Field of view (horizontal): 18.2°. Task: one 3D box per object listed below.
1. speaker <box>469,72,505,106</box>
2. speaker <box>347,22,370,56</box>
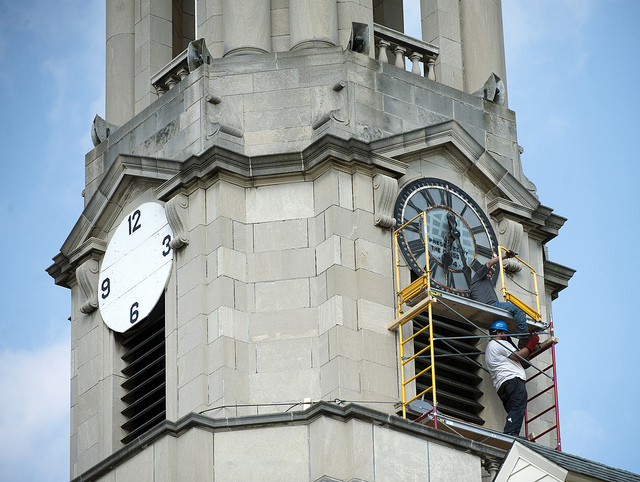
[{"bbox_3d":[4.251,-3.743,48.971,0.301,0.751,0.819,14,-28,-43],"label":"speaker"},{"bbox_3d":[0.892,-4.814,47.061,0.463,0.375,0.666,3,-89,-18],"label":"speaker"}]
